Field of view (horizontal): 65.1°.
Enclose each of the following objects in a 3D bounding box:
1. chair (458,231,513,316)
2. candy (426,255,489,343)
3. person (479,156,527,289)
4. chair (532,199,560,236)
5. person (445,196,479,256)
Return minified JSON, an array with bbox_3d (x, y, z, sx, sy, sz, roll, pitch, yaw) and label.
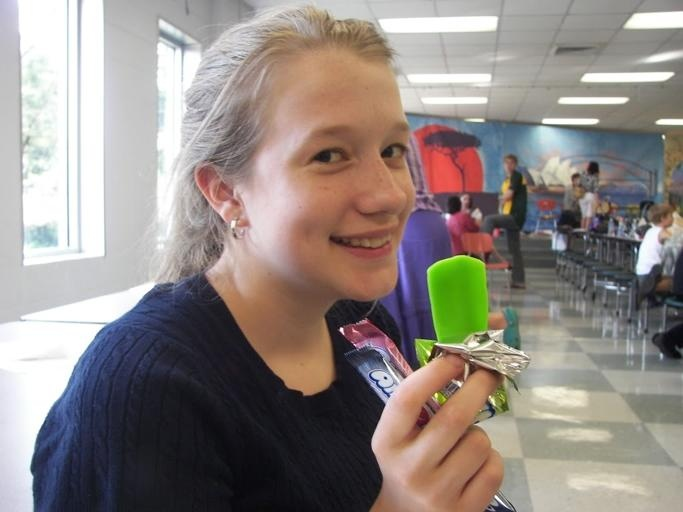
[{"bbox_3d":[1.606,0.173,5.959,0.468,0.796,0.522,-1,8,-10],"label":"chair"},{"bbox_3d":[0.193,0.079,0.908,0.106,0.168,0.037,-25,-47,34],"label":"candy"},{"bbox_3d":[2.545,-0.575,8.369,0.742,2.110,0.549,8,-8,-21],"label":"person"},{"bbox_3d":[4.528,-0.832,11.795,0.613,0.709,0.637,2,-2,-14],"label":"chair"},{"bbox_3d":[1.551,-0.405,6.813,0.389,0.777,0.398,-12,9,-4],"label":"person"}]
